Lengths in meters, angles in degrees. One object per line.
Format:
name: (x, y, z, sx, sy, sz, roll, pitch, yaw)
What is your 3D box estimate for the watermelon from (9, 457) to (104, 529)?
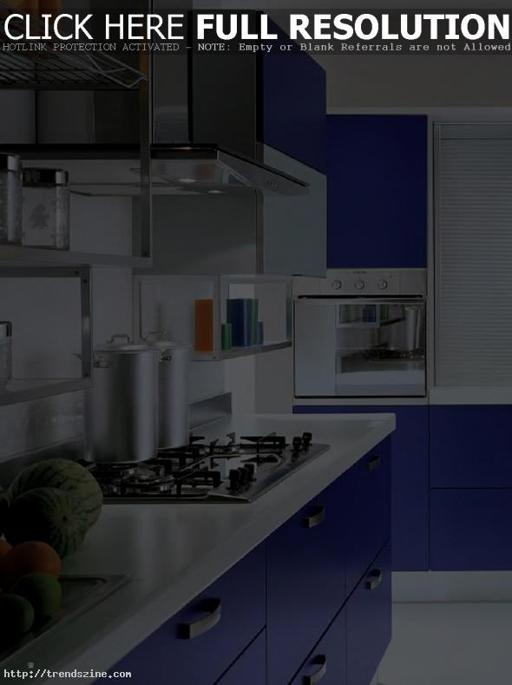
watermelon: (-0.304, 0.194, 1.002, 0.123, 0.094, 0.135, -7, 10, -40)
